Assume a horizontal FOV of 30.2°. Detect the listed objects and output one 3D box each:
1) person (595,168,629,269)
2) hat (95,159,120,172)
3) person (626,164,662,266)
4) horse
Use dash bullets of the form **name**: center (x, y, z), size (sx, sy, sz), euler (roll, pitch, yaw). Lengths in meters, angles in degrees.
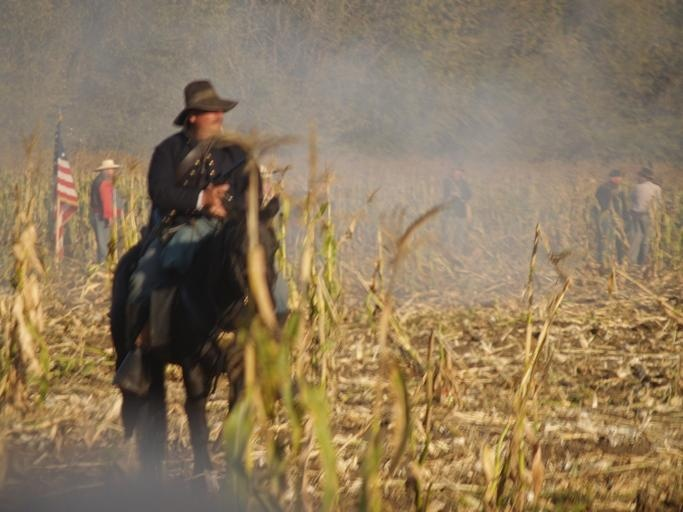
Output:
- **person**: center (4.911, -0.565, 22.891), size (0.416, 1.701, 0.807), euler (3, 11, 29)
- **hat**: center (-4.083, -1.619, 22.316), size (0.276, 0.111, 0.289), euler (-8, -1, 37)
- **person**: center (5.546, -0.630, 23.123), size (0.543, 1.515, 0.226), euler (0, -8, 14)
- **horse**: center (-2.069, 1.138, 17.736), size (2.402, 3.923, 0.918), euler (-2, -9, 27)
